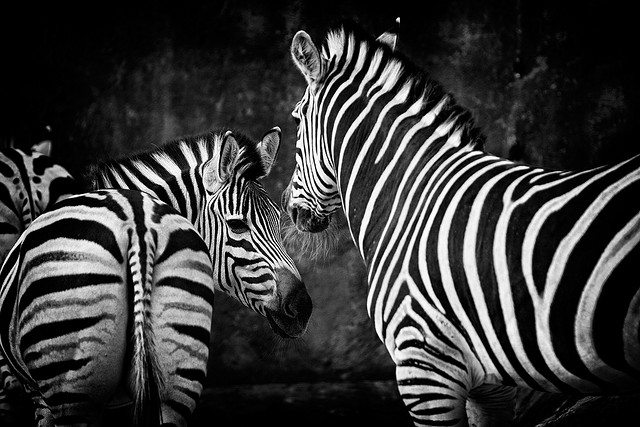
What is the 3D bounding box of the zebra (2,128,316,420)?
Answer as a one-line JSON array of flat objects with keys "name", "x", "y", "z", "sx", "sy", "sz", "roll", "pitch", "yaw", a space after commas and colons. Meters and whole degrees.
[{"name": "zebra", "x": -0.715, "y": 0.209, "z": 3.518, "sx": 0.735, "sy": 1.217, "sz": 1.133, "roll": -2, "pitch": -1, "yaw": 36}]
